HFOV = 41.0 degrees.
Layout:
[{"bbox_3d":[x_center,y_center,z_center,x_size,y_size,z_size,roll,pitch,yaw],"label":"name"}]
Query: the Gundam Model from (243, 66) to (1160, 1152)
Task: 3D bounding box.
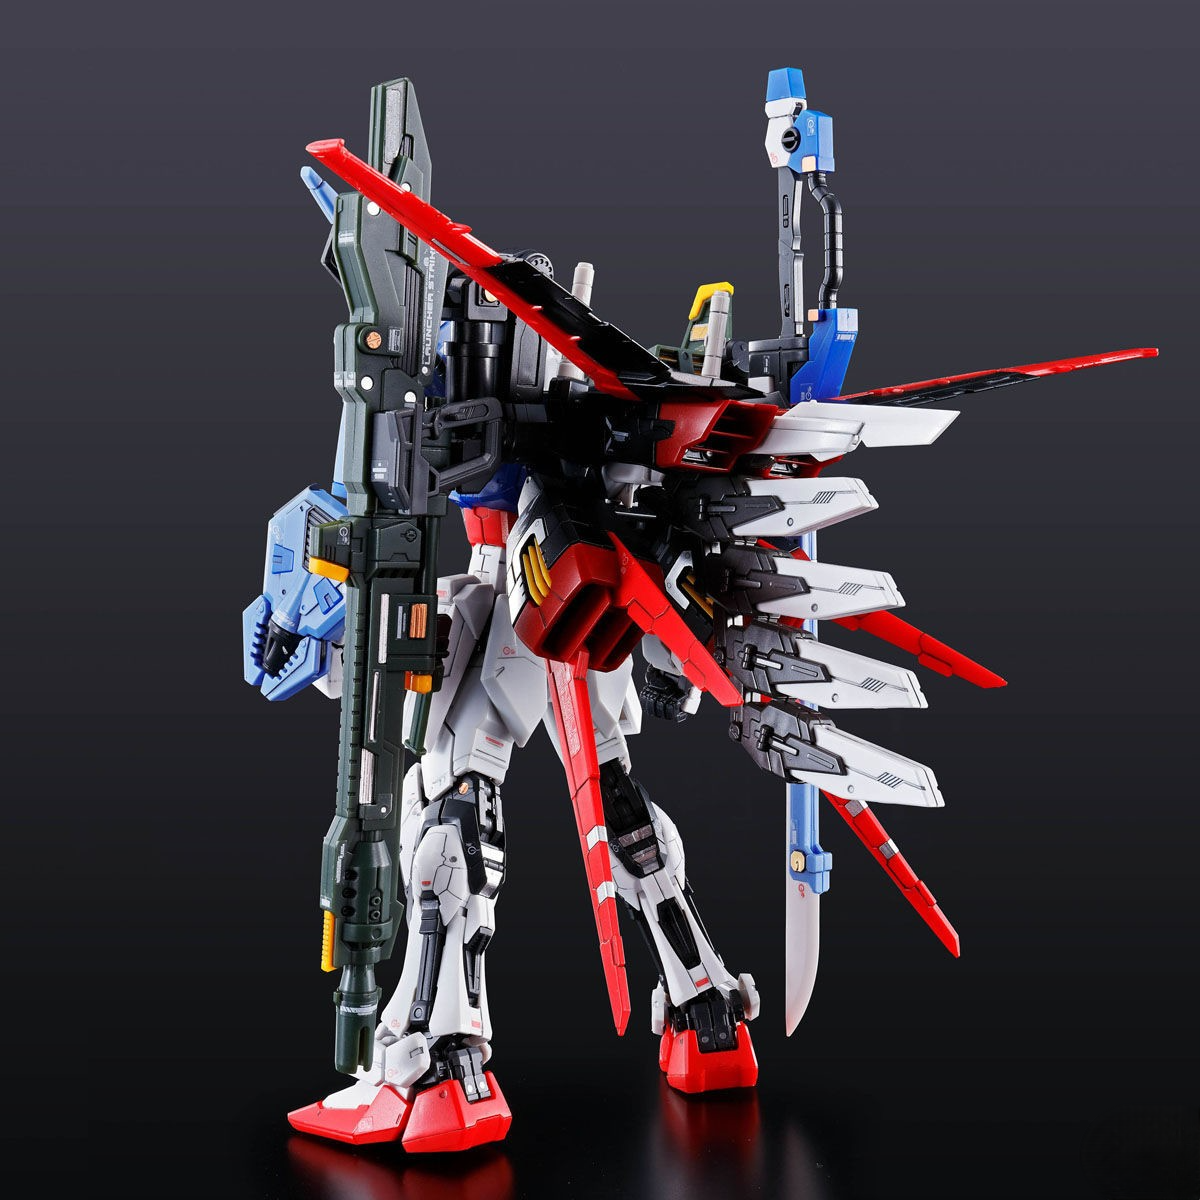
[{"bbox_3d":[0.082,0.124,4.255,1.933,2.932,1.414,-1,12,-10],"label":"Gundam Model"}]
